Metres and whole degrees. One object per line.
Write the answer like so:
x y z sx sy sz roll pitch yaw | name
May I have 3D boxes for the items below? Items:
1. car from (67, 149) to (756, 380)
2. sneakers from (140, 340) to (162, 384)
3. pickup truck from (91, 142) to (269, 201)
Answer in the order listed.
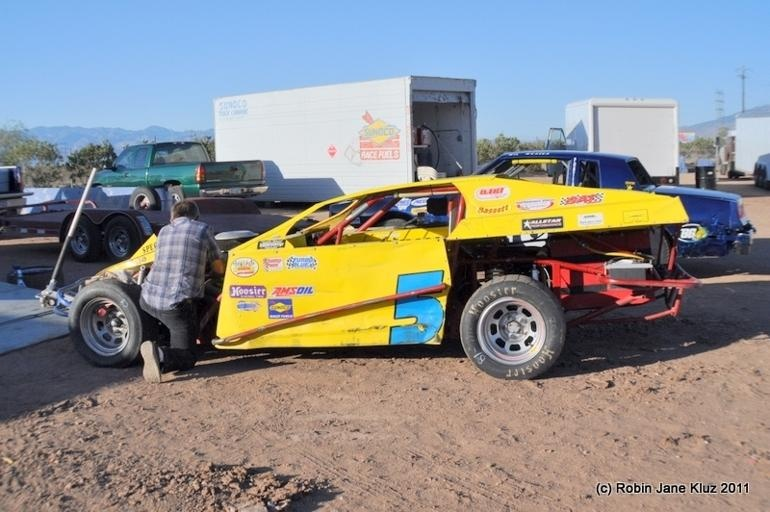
-0.079 0.153 7.664 9.619 2.666 3.670 0 1 9 | car
-2.500 1.122 6.369 0.193 0.477 0.198 -1 3 11 | sneakers
-5.960 -2.360 16.533 3.864 1.274 2.091 4 7 24 | pickup truck
